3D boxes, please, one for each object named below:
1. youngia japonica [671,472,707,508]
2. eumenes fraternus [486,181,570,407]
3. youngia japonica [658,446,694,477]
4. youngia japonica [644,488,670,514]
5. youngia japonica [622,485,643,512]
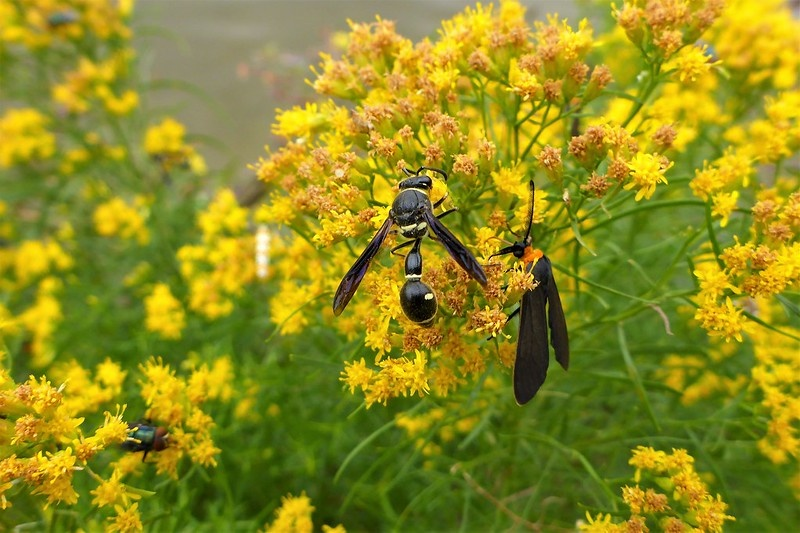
[{"bbox_3d":[0.918,0.699,2.530,0.103,0.107,0.043,-40,-24,24],"label":"youngia japonica"},{"bbox_3d":[0.433,0.080,2.527,0.249,0.605,0.448,-4,0,27],"label":"eumenes fraternus"},{"bbox_3d":[0.898,0.627,2.576,0.091,0.090,0.080,-3,-35,17],"label":"youngia japonica"},{"bbox_3d":[0.818,0.746,2.531,0.078,0.064,0.047,6,-34,5],"label":"youngia japonica"},{"bbox_3d":[0.739,0.738,2.551,0.034,0.070,0.070,-20,-50,41],"label":"youngia japonica"}]
